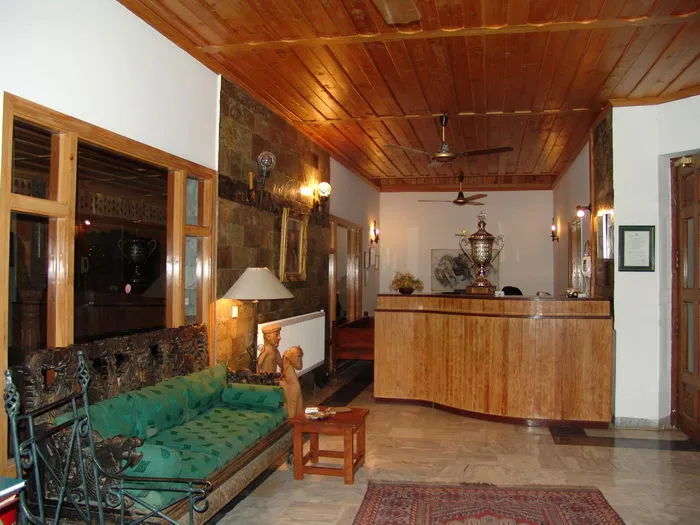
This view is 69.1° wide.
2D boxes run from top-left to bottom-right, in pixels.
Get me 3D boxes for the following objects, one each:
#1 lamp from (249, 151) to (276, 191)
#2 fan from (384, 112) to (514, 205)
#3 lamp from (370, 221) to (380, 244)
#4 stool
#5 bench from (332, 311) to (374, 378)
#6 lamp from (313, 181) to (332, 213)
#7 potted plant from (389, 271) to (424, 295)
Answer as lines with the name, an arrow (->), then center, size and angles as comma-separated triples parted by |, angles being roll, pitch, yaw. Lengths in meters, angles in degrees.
lamp -> -1.015, -1.140, 6.113 | 0.234, 0.535, 0.473 | 0, 1, 9
fan -> 1.302, -1.532, 7.224 | 1.287, 1.140, 1.297 | -3, 7, -39
lamp -> 0.549, -0.700, 11.431 | 0.169, 0.540, 0.531 | 0, 0, 11
stool -> -0.145, 1.639, 4.693 | 0.579, 0.549, 0.604 | 0, 3, 17
bench -> 0.045, 1.460, 8.630 | 0.669, 0.936, 1.499 | 0, 1, 0
lamp -> -0.408, -1.066, 8.047 | 0.235, 0.524, 0.661 | 0, 1, 8
potted plant -> 0.736, 0.293, 7.254 | 0.507, 0.375, 0.520 | 1, 1, 35
